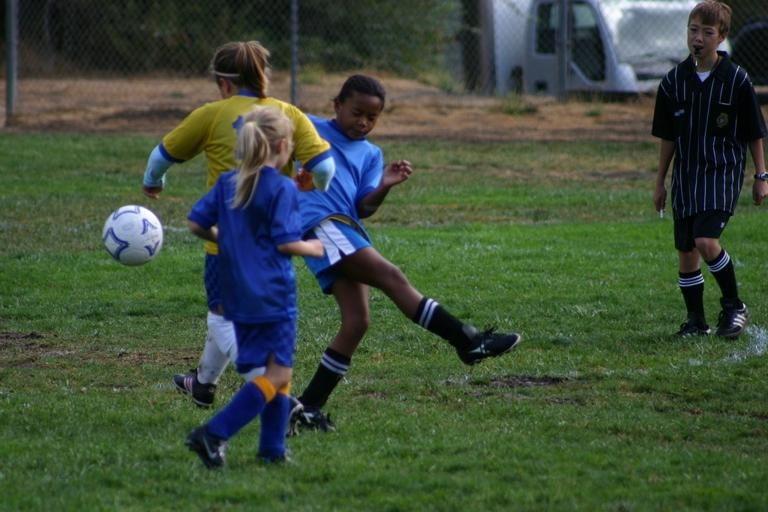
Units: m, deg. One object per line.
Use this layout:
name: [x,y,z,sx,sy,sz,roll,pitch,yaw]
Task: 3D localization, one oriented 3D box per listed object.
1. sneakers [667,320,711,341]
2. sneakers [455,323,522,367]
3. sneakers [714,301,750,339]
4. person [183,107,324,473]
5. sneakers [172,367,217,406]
sneakers: [2.650,0.645,11.464,0.371,0.154,0.132,0,4,-9]
sneakers: [0.855,0.671,10.345,0.589,0.265,0.225,-22,-9,41]
sneakers: [3.020,0.554,11.460,0.155,0.179,0.435,-9,16,33]
person: [-0.964,0.230,9.848,0.947,2.678,0.398,1,7,-3]
sneakers: [-1.537,1.003,10.604,0.190,0.223,0.519,2,17,-41]
